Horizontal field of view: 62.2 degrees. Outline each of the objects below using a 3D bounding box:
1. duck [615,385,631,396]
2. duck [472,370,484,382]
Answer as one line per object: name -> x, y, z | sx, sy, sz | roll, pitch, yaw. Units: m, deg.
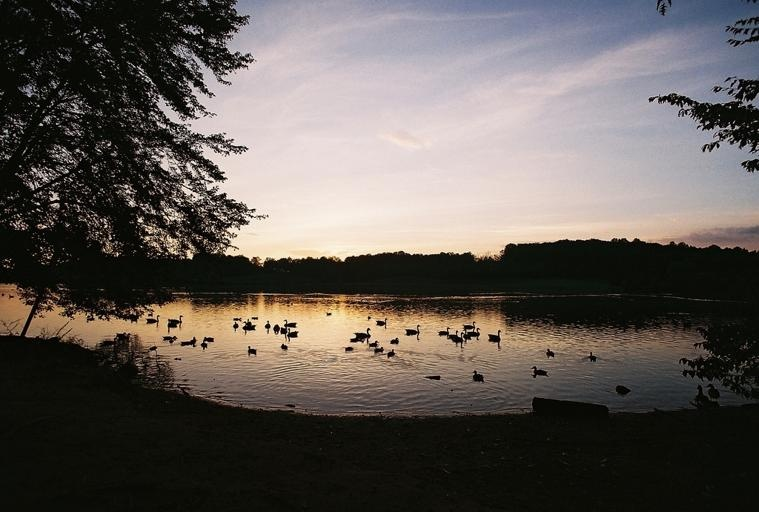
duck -> 15.603, 8.596, 40.427 | 0.931, 0.363, 1.273 | 6, 12, 19
duck -> 6.719, 8.230, 42.592 | 0.455, 0.539, 0.795 | -8, -18, 34
